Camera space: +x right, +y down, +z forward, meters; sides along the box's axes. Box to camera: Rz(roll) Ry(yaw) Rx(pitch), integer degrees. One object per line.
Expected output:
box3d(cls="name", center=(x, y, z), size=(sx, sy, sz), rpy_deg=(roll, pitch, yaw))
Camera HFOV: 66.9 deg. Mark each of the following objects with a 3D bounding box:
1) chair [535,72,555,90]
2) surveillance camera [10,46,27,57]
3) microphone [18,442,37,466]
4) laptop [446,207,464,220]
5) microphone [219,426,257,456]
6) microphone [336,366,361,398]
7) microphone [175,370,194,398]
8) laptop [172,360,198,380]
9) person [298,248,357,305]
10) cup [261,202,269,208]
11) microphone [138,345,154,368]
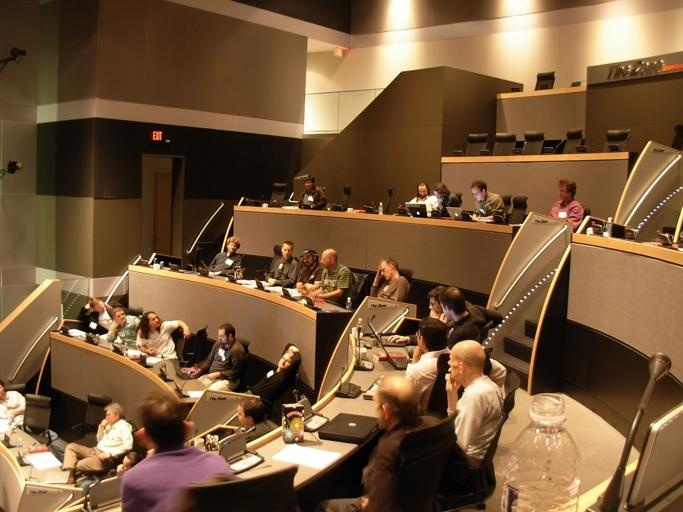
box3d(cls="chair", center=(4.227, -3.637, 10.733), size=(0.336, 0.486, 0.540), rpy_deg=(6, 5, 17))
box3d(cls="surveillance camera", center=(-6.490, -4.070, 10.331), size=(0.270, 0.243, 0.188), rpy_deg=(0, 7, -41))
box3d(cls="microphone", center=(-4.048, 2.516, 6.592), size=(0.251, 0.072, 0.280), rpy_deg=(7, 9, 6))
box3d(cls="laptop", center=(1.576, -0.623, 7.151), size=(0.213, 0.227, 0.153), rpy_deg=(7, 16, 39))
box3d(cls="microphone", center=(-0.658, 1.137, 3.152), size=(0.153, 0.059, 0.114), rpy_deg=(-41, -14, 11))
box3d(cls="microphone", center=(0.059, 1.018, 4.189), size=(0.115, 0.161, 0.150), rpy_deg=(10, 31, 8))
box3d(cls="microphone", center=(-2.084, 1.697, 6.799), size=(0.227, 0.215, 0.242), rpy_deg=(6, 3, -14))
box3d(cls="laptop", center=(-2.181, 1.577, 7.160), size=(0.187, 0.242, 0.302), rpy_deg=(-8, 6, -29))
box3d(cls="person", center=(-0.222, 0.352, 7.597), size=(0.672, 0.927, 0.763), rpy_deg=(2, 11, 25))
box3d(cls="cup", center=(-1.514, -1.016, 10.151), size=(0.120, 0.128, 0.128), rpy_deg=(0, 11, 0))
box3d(cls="microphone", center=(-2.828, 1.423, 7.391), size=(0.226, 0.324, 0.222), rpy_deg=(8, 8, 43))
